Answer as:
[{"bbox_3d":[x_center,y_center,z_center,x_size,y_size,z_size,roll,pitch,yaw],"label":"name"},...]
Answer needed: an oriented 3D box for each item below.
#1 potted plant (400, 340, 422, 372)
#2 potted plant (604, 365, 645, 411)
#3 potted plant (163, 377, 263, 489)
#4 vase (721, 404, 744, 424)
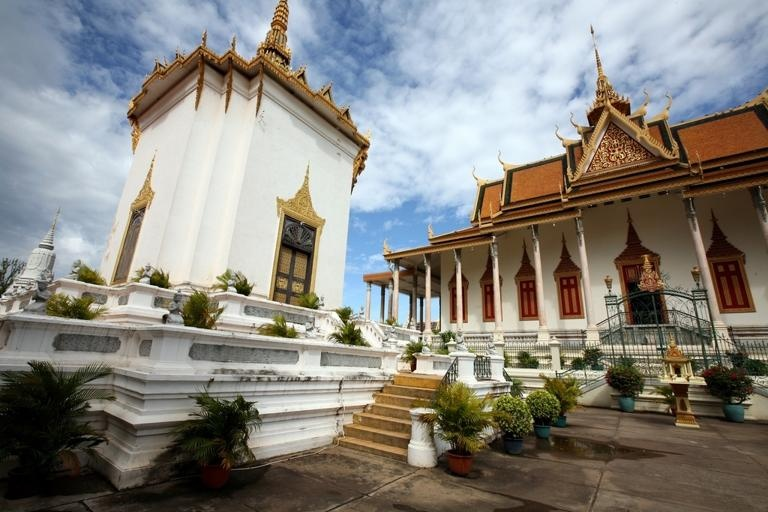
[{"bbox_3d":[0.758,2.789,10.674,0.738,0.766,0.664,0,-14,2],"label":"potted plant"},{"bbox_3d":[7.984,4.454,12.862,1.284,1.531,1.240,4,-25,9],"label":"potted plant"},{"bbox_3d":[-2.845,3.174,6.779,1.450,1.451,1.440,5,-27,-18],"label":"potted plant"},{"bbox_3d":[10.186,4.654,11.250,0.476,0.409,0.525,-3,-22,18],"label":"vase"}]
